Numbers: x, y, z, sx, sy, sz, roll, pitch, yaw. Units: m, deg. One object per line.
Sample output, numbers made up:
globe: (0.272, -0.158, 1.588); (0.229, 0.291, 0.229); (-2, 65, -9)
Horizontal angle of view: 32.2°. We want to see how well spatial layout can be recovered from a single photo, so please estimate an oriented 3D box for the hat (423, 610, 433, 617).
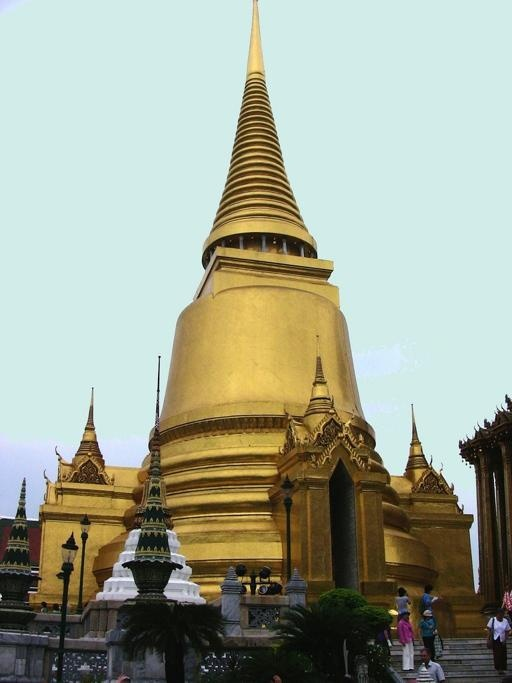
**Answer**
hat: (2.256, 3.510, 11.548); (0.106, 0.079, 0.091); (-1, -3, 1)
